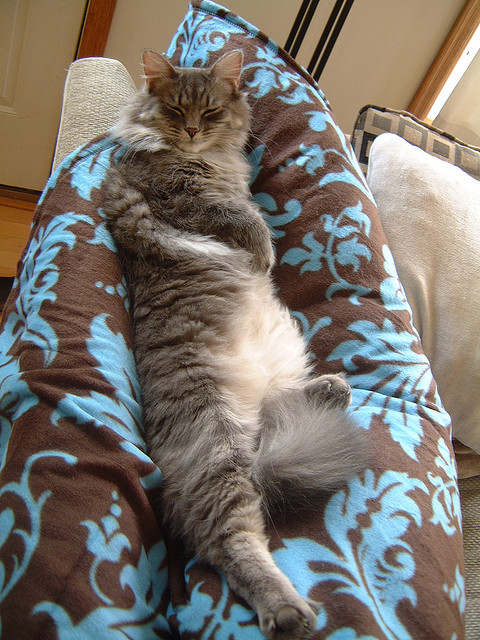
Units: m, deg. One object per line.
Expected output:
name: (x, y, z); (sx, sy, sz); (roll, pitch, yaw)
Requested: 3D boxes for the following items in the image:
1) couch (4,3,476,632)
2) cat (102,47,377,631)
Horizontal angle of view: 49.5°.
couch: (-0.110, -0.044, 1.177); (1.168, 0.345, 1.076); (11, 68, -21)
cat: (-0.083, -0.082, 1.035); (0.376, 0.285, 1.146); (4, 62, -24)
